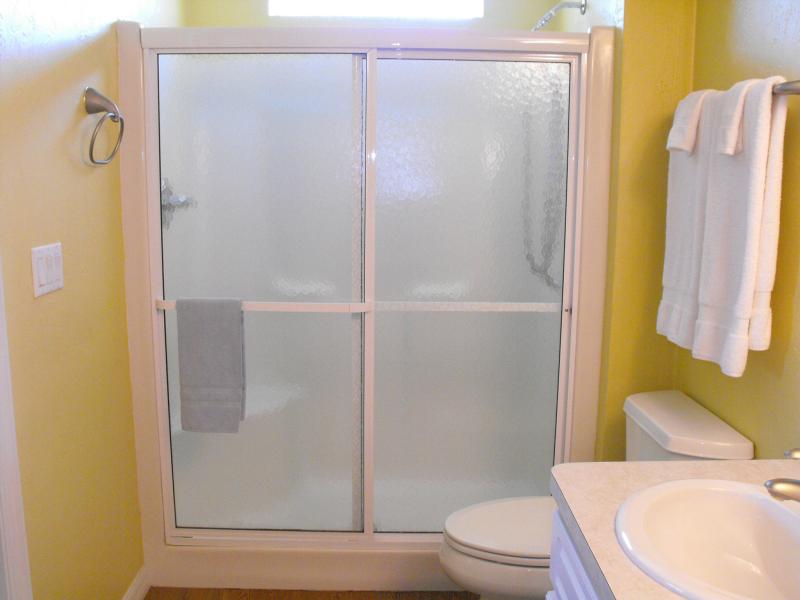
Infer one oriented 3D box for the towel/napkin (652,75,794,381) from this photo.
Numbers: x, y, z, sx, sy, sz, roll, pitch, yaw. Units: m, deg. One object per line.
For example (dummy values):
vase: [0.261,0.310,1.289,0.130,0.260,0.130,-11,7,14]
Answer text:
towel/napkin: [0.909,-0.225,2.061,0.173,0.788,0.471,-5,12,-12]
